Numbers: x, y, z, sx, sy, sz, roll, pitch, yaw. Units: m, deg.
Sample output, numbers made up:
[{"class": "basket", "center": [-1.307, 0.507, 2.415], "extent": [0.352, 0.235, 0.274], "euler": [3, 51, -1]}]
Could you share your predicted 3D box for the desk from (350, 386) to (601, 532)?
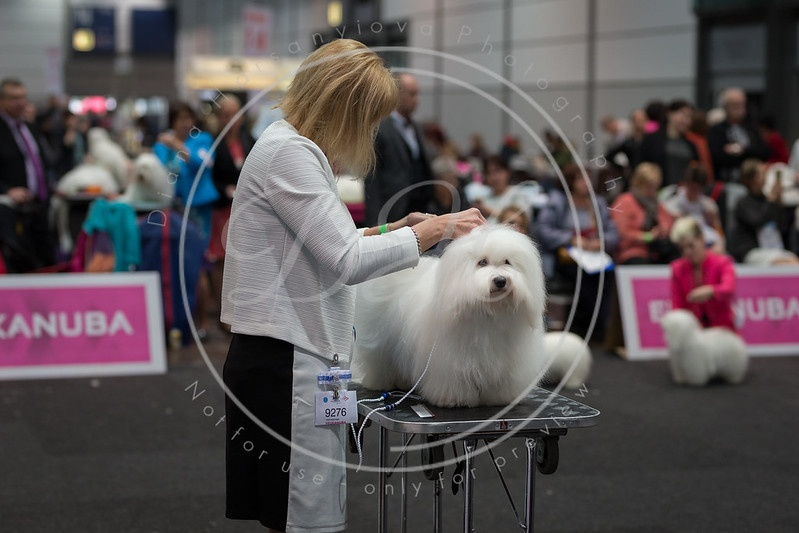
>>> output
[{"class": "desk", "center": [0.330, 0.905, 5.548], "extent": [0.870, 0.757, 0.904], "euler": [2, 0, -14]}]

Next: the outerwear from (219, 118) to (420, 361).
[{"class": "outerwear", "center": [-0.456, -0.196, 5.643], "extent": [0.963, 1.303, 1.037], "euler": [-1, 6, -12]}]

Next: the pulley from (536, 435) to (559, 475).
[{"class": "pulley", "center": [0.763, 0.937, 5.472], "extent": [0.071, 0.239, 0.197], "euler": [-3, 10, -18]}]

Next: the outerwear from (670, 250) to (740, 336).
[{"class": "outerwear", "center": [1.849, 0.176, 6.417], "extent": [0.395, 0.653, 0.417], "euler": [-3, -5, 14]}]

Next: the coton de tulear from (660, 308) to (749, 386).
[{"class": "coton de tulear", "center": [1.900, 0.458, 6.513], "extent": [0.562, 0.530, 0.387], "euler": [1, 27, 1]}]

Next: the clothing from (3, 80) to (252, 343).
[{"class": "clothing", "center": [-1.919, -0.424, 8.688], "extent": [1.904, 2.372, 1.590], "euler": [-1, 9, -7]}]

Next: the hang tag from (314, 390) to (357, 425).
[{"class": "hang tag", "center": [-0.320, 0.685, 5.209], "extent": [0.143, 0.133, 0.021], "euler": [0, -2, -7]}]

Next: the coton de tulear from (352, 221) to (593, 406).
[{"class": "coton de tulear", "center": [0.240, 0.246, 5.817], "extent": [1.163, 1.022, 0.696], "euler": [2, 3, 44]}]
